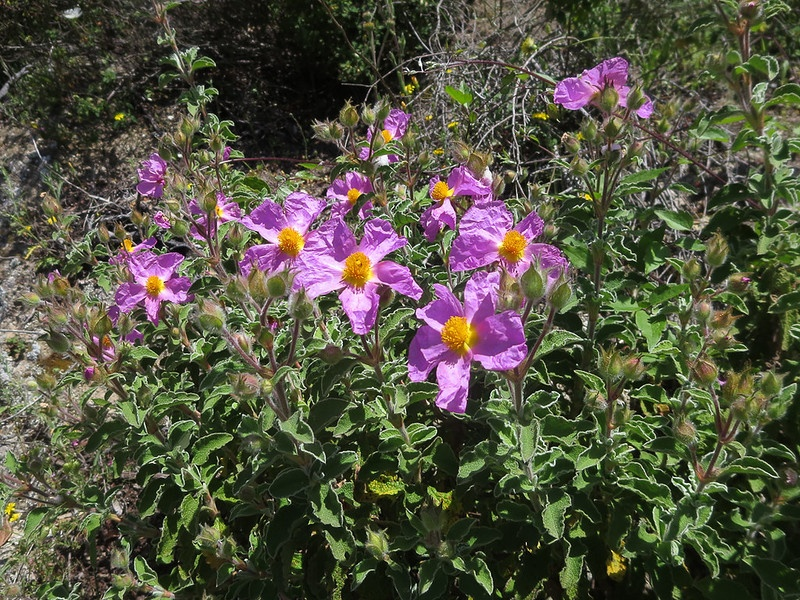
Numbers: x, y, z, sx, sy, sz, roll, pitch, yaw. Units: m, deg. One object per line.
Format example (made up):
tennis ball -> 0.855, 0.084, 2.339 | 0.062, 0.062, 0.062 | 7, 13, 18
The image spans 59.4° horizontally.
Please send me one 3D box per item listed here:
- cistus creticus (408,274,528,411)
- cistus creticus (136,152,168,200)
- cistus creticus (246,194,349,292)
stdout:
cistus creticus -> 0.336, 0.201, 3.623 | 0.610, 0.660, 0.270 | -4, 4, 26
cistus creticus -> -1.702, -0.851, 4.784 | 0.240, 0.293, 0.111 | -18, -4, 39
cistus creticus -> -0.694, -0.389, 4.208 | 0.358, 0.611, 0.309 | -9, 11, -34
